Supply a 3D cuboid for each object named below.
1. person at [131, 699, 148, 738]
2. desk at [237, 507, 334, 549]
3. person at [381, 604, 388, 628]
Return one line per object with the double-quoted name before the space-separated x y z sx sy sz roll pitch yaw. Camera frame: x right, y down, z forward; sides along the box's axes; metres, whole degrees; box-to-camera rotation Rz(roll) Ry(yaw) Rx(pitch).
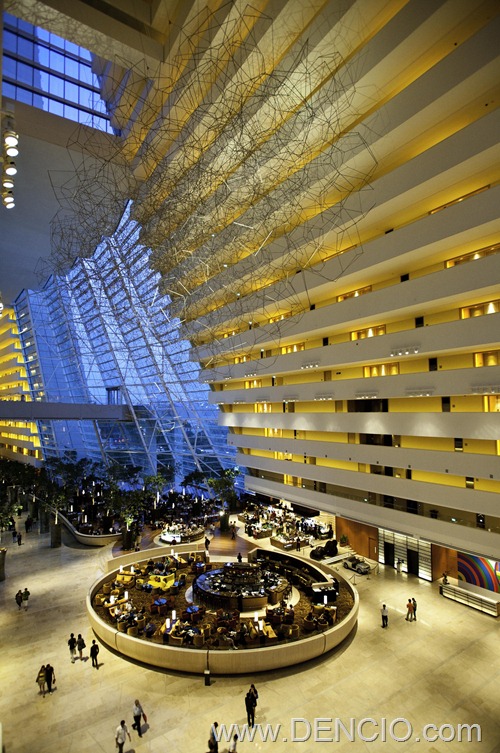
"person" -2.446 7.432 10.916 0.295 0.642 0.892 -2 -3 -6
"desk" 2.005 8.097 26.104 2.857 0.960 4.022 -1 -4 -27
"person" 4.277 7.549 15.673 0.212 0.686 0.757 -3 -3 15
